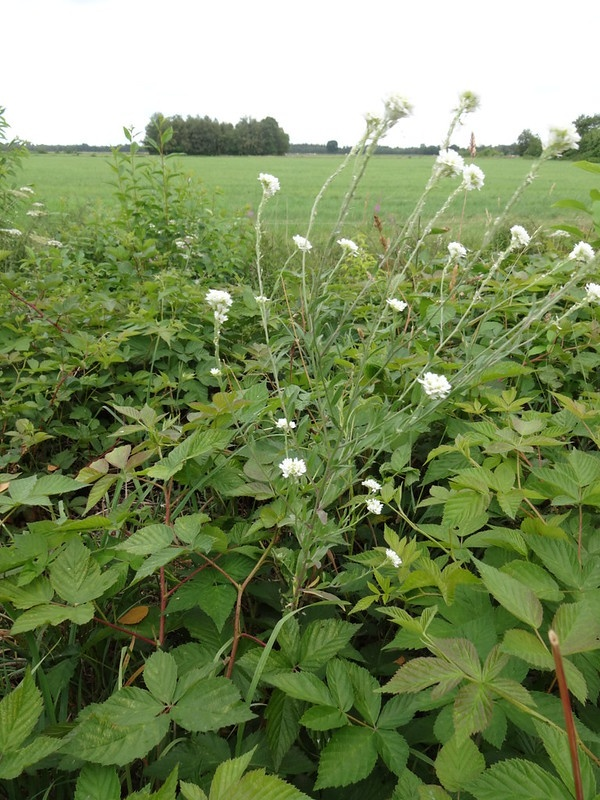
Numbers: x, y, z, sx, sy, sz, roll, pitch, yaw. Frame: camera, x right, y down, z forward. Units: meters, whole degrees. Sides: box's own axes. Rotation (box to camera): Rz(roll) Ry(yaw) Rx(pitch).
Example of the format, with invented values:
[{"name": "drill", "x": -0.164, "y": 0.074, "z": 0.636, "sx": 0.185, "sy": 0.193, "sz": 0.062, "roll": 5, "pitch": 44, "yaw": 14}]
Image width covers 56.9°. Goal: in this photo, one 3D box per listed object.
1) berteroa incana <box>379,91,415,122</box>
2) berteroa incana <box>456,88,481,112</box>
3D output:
[{"name": "berteroa incana", "x": 0.200, "y": -0.600, "z": 1.151, "sx": 0.062, "sy": 0.056, "sz": 0.037, "roll": 7, "pitch": 20, "yaw": 4}, {"name": "berteroa incana", "x": 0.402, "y": -0.715, "z": 1.330, "sx": 0.048, "sy": 0.053, "sz": 0.084, "roll": 9, "pitch": 19, "yaw": 9}]
